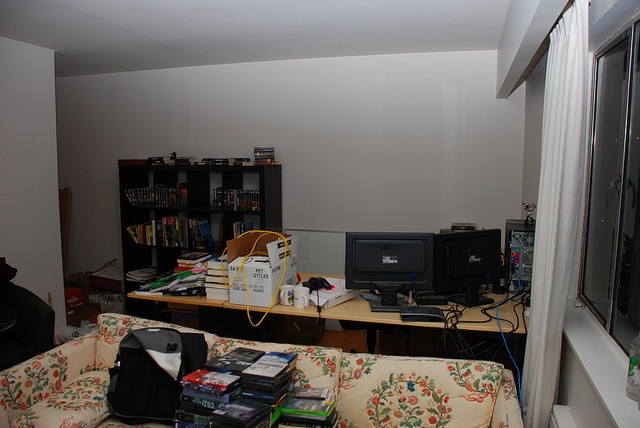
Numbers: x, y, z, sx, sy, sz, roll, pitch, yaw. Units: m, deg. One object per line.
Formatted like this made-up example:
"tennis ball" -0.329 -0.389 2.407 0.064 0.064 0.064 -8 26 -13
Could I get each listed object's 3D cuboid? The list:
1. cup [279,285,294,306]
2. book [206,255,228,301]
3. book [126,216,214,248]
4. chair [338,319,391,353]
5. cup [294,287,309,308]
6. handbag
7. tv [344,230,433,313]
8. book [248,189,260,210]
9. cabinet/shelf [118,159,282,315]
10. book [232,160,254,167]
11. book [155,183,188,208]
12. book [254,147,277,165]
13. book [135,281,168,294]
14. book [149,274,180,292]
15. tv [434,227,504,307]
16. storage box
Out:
"cup" -0.288 0.721 3.888 0.105 0.141 0.166 3 3 24
"book" -0.940 0.601 4.048 0.247 0.295 0.419 1 1 1
"book" -1.894 0.245 5.672 1.091 0.418 0.243 -1 3 15
"chair" 0.385 1.036 4.066 0.398 0.374 0.393 1 -5 -1
"cup" -0.164 0.723 3.811 0.112 0.127 0.175 -1 6 -9
"handbag" -1.207 1.167 3.354 0.643 0.629 0.257 3 -10 18
"tv" 0.583 0.490 3.759 0.641 0.546 0.243 0 11 4
"book" -0.784 -0.162 5.264 0.104 0.246 0.173 -2 3 -17
"cabinet/shelf" -1.333 0.209 5.019 2.020 1.842 0.582 1 4 6
"book" -0.928 -0.610 5.388 0.240 0.088 0.421 -2 3 -11
"book" -1.847 -0.216 5.559 0.474 0.305 0.141 0 3 26
"book" -0.659 -0.689 5.251 0.229 0.197 0.140 -2 3 -8
"book" -1.584 0.701 4.226 0.162 0.041 0.160 -4 4 4
"book" -1.461 0.655 4.174 0.224 0.070 0.144 -25 16 -39
"tv" 1.255 0.468 3.787 0.598 0.525 0.260 -4 14 -14
"storage box" -0.530 0.531 4.227 0.520 0.484 0.719 -13 -22 11
